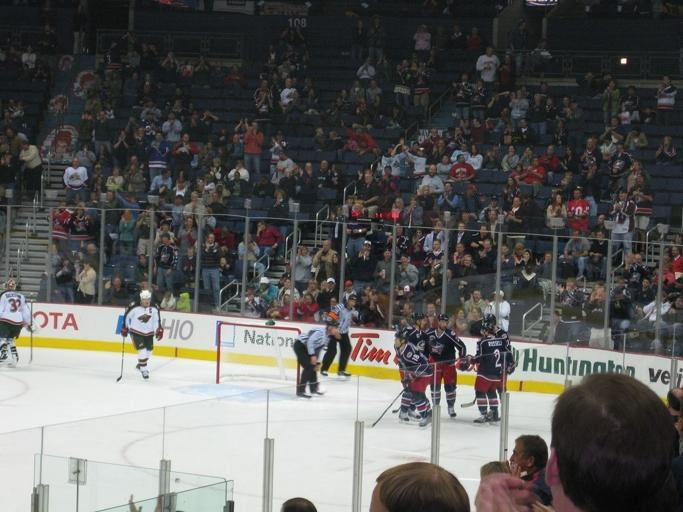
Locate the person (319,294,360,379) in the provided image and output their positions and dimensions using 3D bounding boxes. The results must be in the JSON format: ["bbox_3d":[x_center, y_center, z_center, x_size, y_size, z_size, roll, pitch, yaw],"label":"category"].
[{"bbox_3d":[0.045,1.769,38.190,0.791,1.985,0.869,3,11,-21],"label":"person"}]

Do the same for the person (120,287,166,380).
[{"bbox_3d":[-4.615,1.747,38.539,0.935,2.061,1.407,4,-6,-7],"label":"person"}]

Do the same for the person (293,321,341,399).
[{"bbox_3d":[-0.544,2.173,36.496,1.032,1.733,0.688,6,3,16],"label":"person"}]

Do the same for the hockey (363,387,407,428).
[{"bbox_3d":[0.880,2.645,29.813,0.227,0.234,1.599,-38,7,41],"label":"hockey"}]

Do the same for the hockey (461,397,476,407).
[{"bbox_3d":[2.260,2.590,30.038,0.357,0.110,0.145,-6,-19,-14],"label":"hockey"}]

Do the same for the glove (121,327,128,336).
[{"bbox_3d":[-4.947,1.678,37.978,0.138,0.210,0.390,4,-6,-7],"label":"glove"}]
